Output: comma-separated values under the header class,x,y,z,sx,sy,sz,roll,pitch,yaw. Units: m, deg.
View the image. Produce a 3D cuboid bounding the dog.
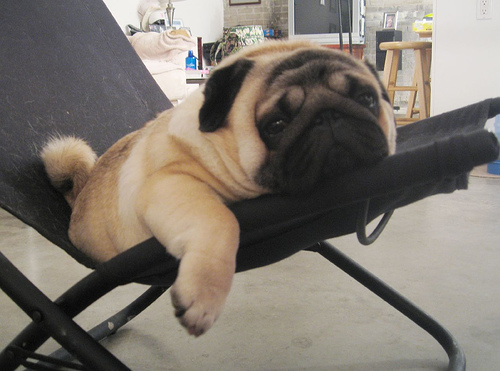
class,x,y,z,sx,sy,sz,roll,pitch,yaw
dog,-0.072,-0.003,0.933,0.757,0.426,0.555,-3,2,32
